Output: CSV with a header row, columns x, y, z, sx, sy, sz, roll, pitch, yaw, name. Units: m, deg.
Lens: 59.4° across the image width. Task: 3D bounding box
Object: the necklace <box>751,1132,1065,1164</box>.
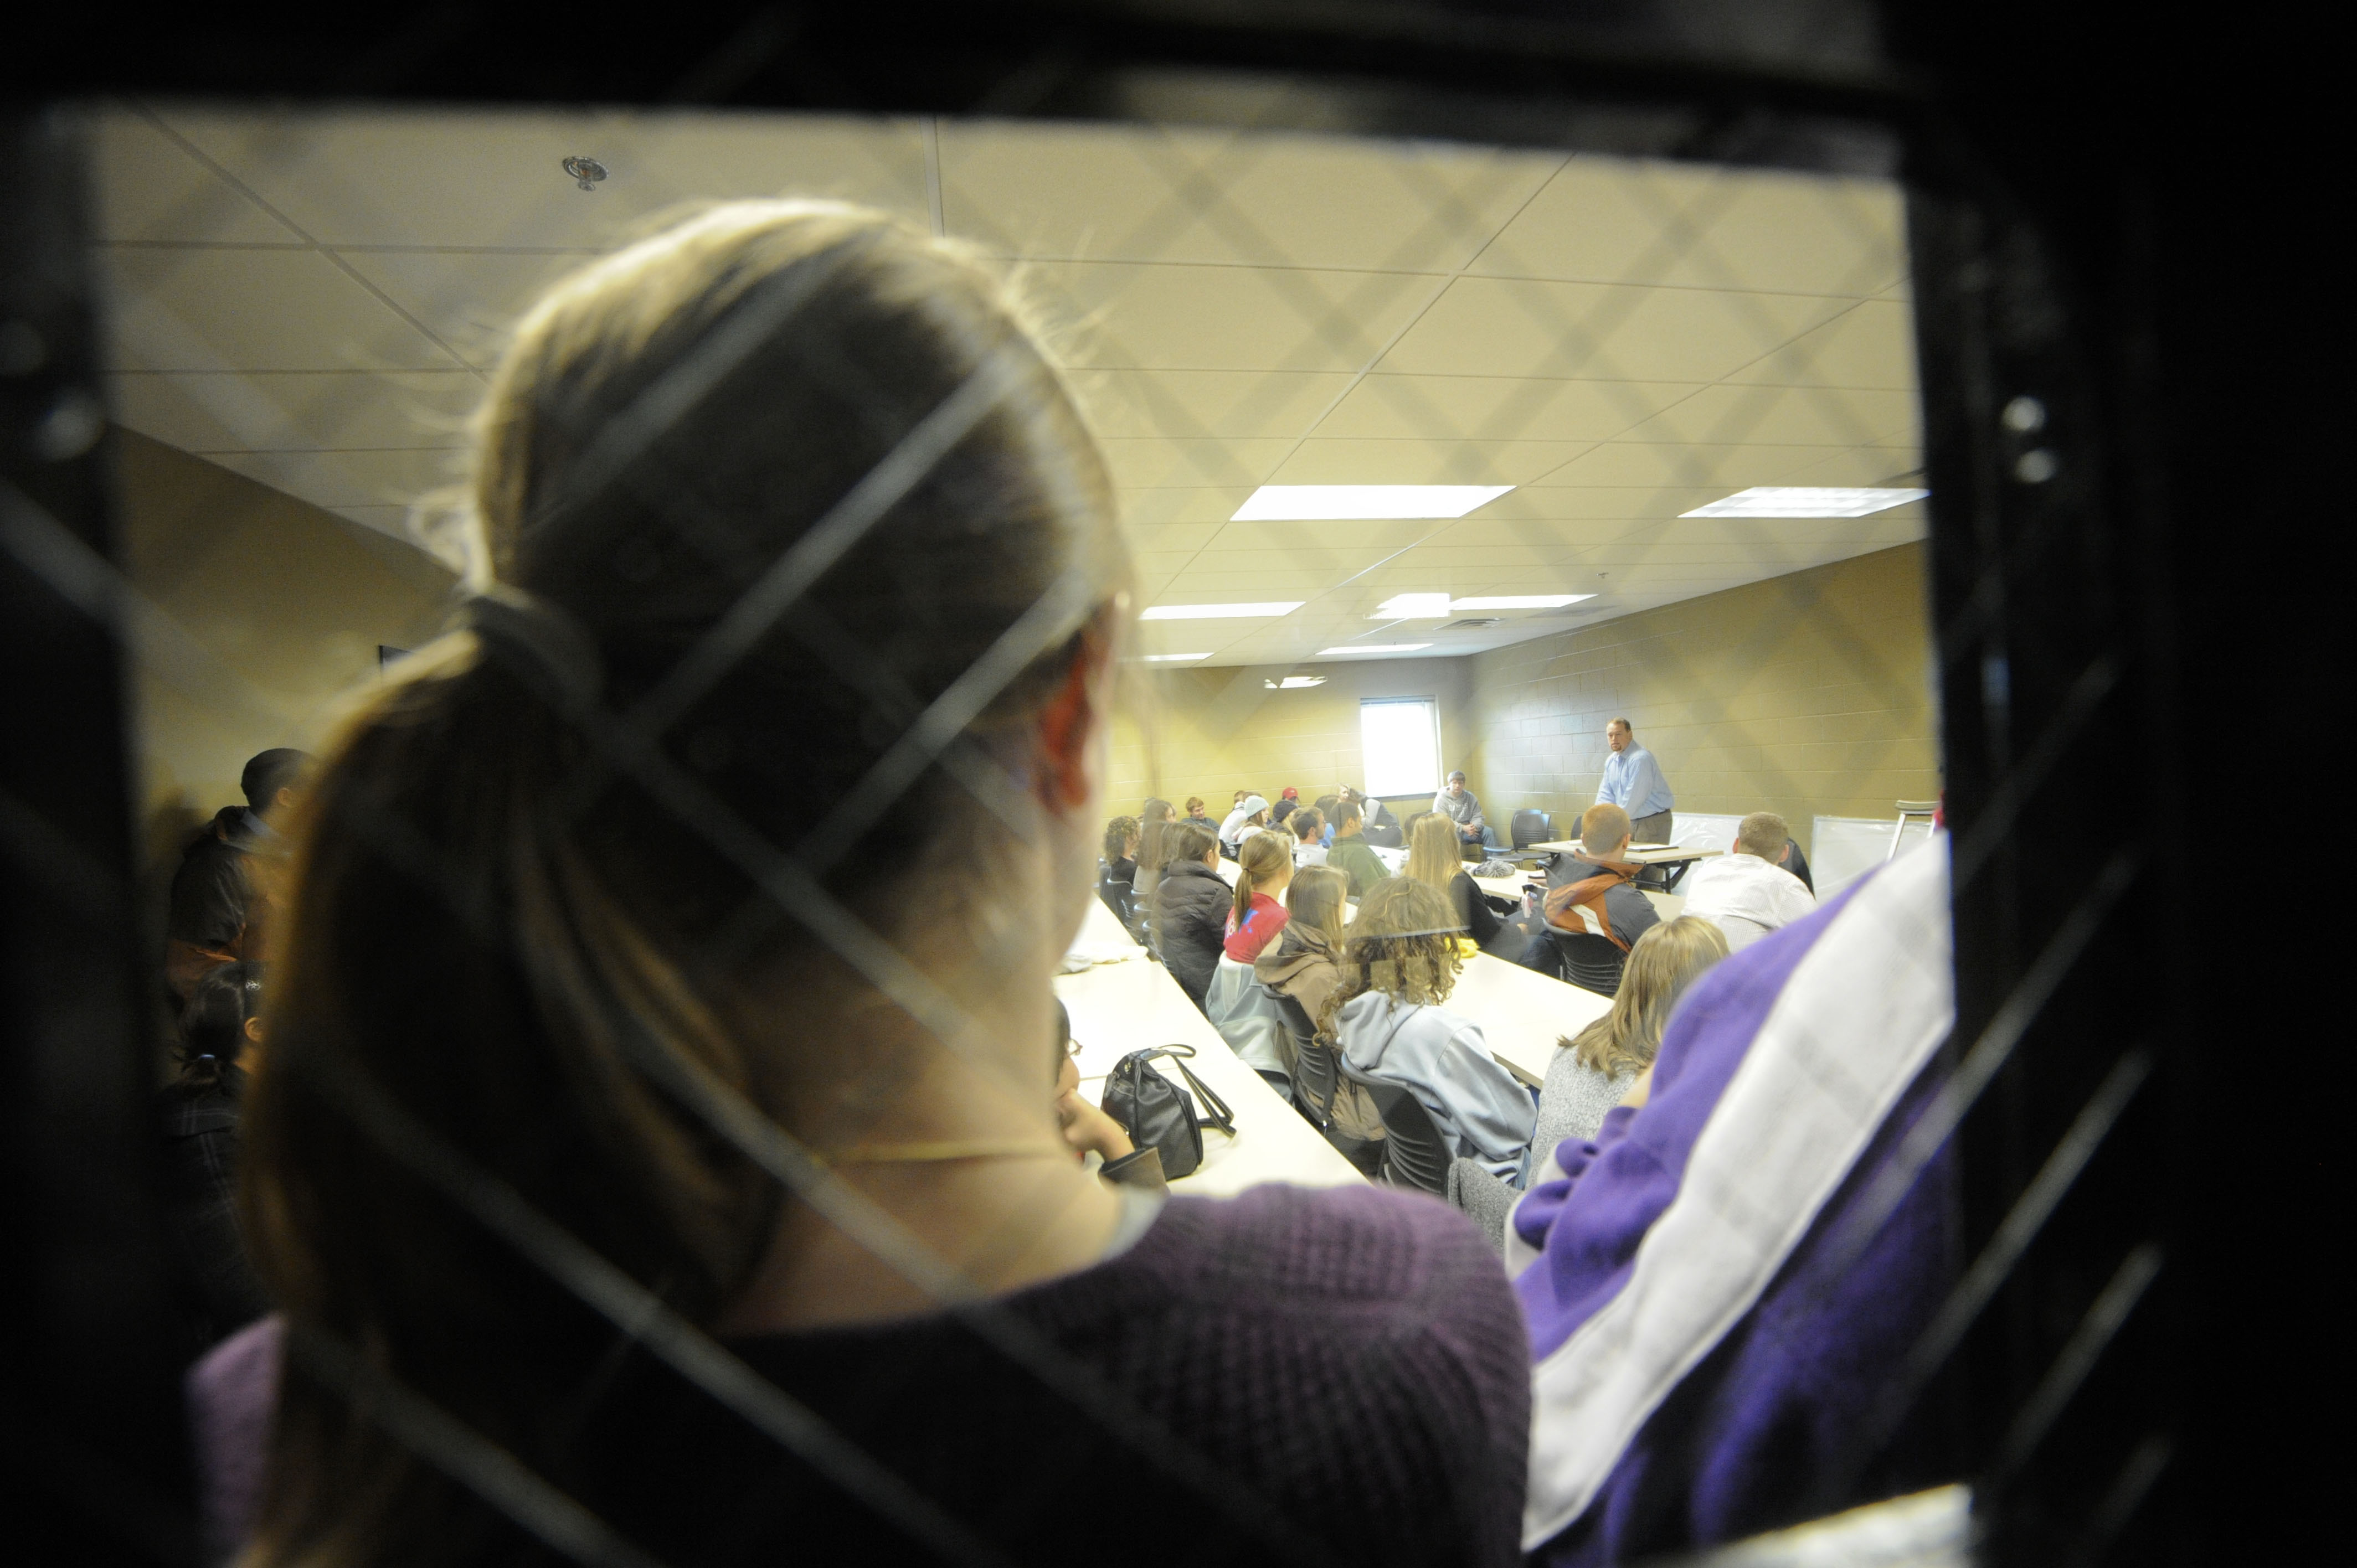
x,y,z,sx,sy,sz,roll,pitch,yaw,name
-0.211,0.266,1.509,0.163,0.016,0.017,-3,-11,-12,necklace
